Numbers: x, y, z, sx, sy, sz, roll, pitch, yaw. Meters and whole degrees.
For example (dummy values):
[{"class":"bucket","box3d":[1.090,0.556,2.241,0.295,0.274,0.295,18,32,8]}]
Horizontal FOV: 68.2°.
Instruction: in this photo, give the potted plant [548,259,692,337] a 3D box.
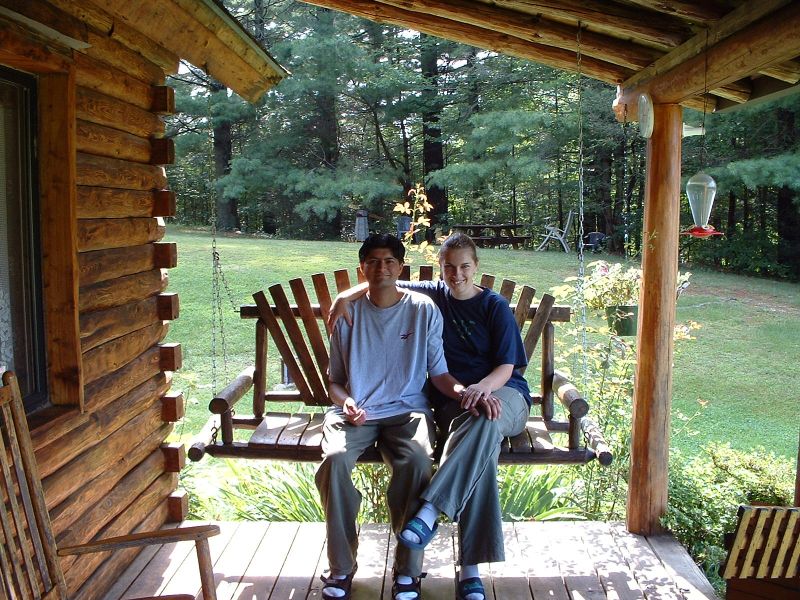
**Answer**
[{"class":"potted plant","box3d":[1.877,-0.052,5.327,1.119,0.821,1.272,1,0,42]}]

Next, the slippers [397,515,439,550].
[{"class":"slippers","box3d":[0.086,1.076,2.746,0.190,0.148,0.120,-3,8,-11]}]
